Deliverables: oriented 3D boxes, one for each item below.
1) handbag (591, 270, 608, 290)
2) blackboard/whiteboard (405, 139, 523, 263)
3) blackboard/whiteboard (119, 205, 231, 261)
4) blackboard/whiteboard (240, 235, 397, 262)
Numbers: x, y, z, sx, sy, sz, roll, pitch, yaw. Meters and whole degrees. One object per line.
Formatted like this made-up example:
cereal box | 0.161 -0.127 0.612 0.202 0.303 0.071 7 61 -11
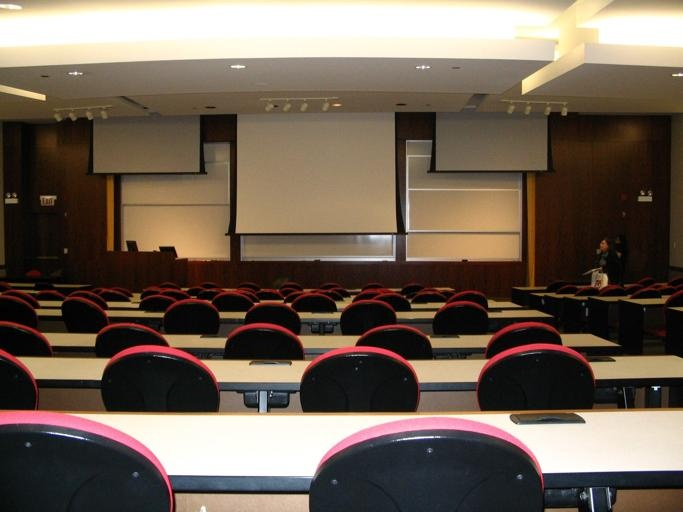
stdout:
handbag | 4.049 0.385 9.326 0.223 0.395 0.211 0 6 -15
blackboard/whiteboard | 2.321 -1.105 11.853 2.110 2.411 0.096 1 2 -2
blackboard/whiteboard | -3.388 -0.492 12.235 2.238 1.082 0.102 1 -2 6
blackboard/whiteboard | -0.473 -0.161 11.892 3.089 0.528 0.130 1 -2 3
